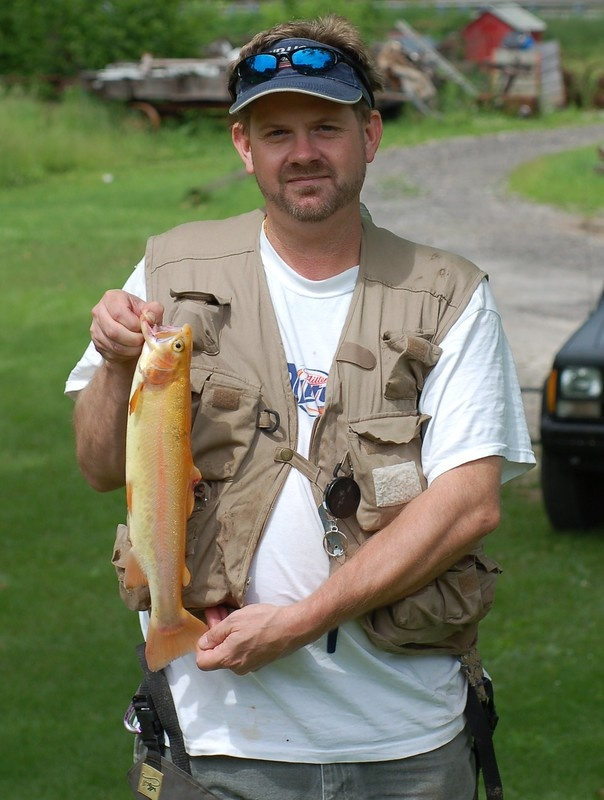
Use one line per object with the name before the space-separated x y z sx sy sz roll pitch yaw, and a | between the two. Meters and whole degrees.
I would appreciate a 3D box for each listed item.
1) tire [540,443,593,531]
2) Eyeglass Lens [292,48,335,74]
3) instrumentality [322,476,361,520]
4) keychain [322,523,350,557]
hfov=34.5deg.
tire | 1.107 0.354 4.039 0.141 0.321 0.370 0 20 22
Eyeglass Lens | 0.023 -0.662 1.906 0.087 0.049 0.047 -5 21 -1
instrumentality | 0.079 0.195 1.869 0.069 0.100 0.033 -19 26 -30
keychain | 0.068 0.276 1.894 0.047 0.075 0.036 -9 23 -8
